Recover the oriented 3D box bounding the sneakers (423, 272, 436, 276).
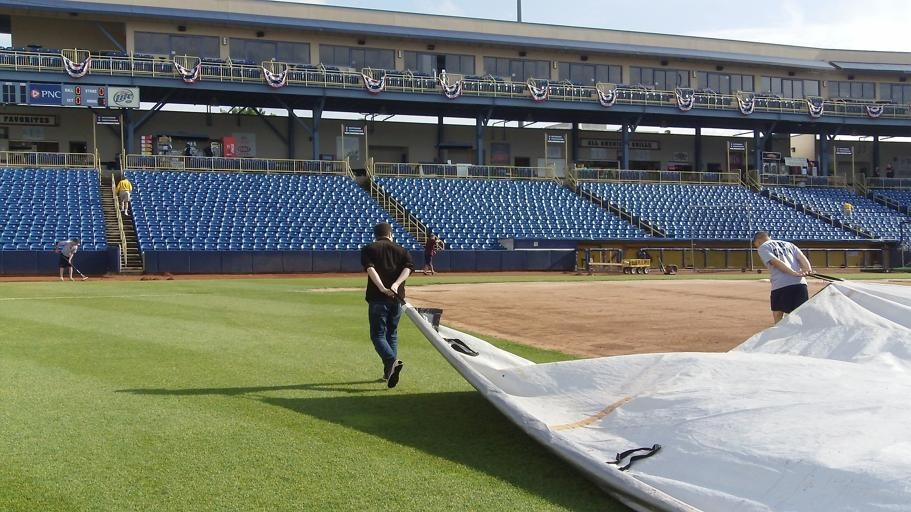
[{"bbox_3d":[-1.538,0.957,52.693,0.787,0.255,0.223,-7,2,3],"label":"sneakers"}]
